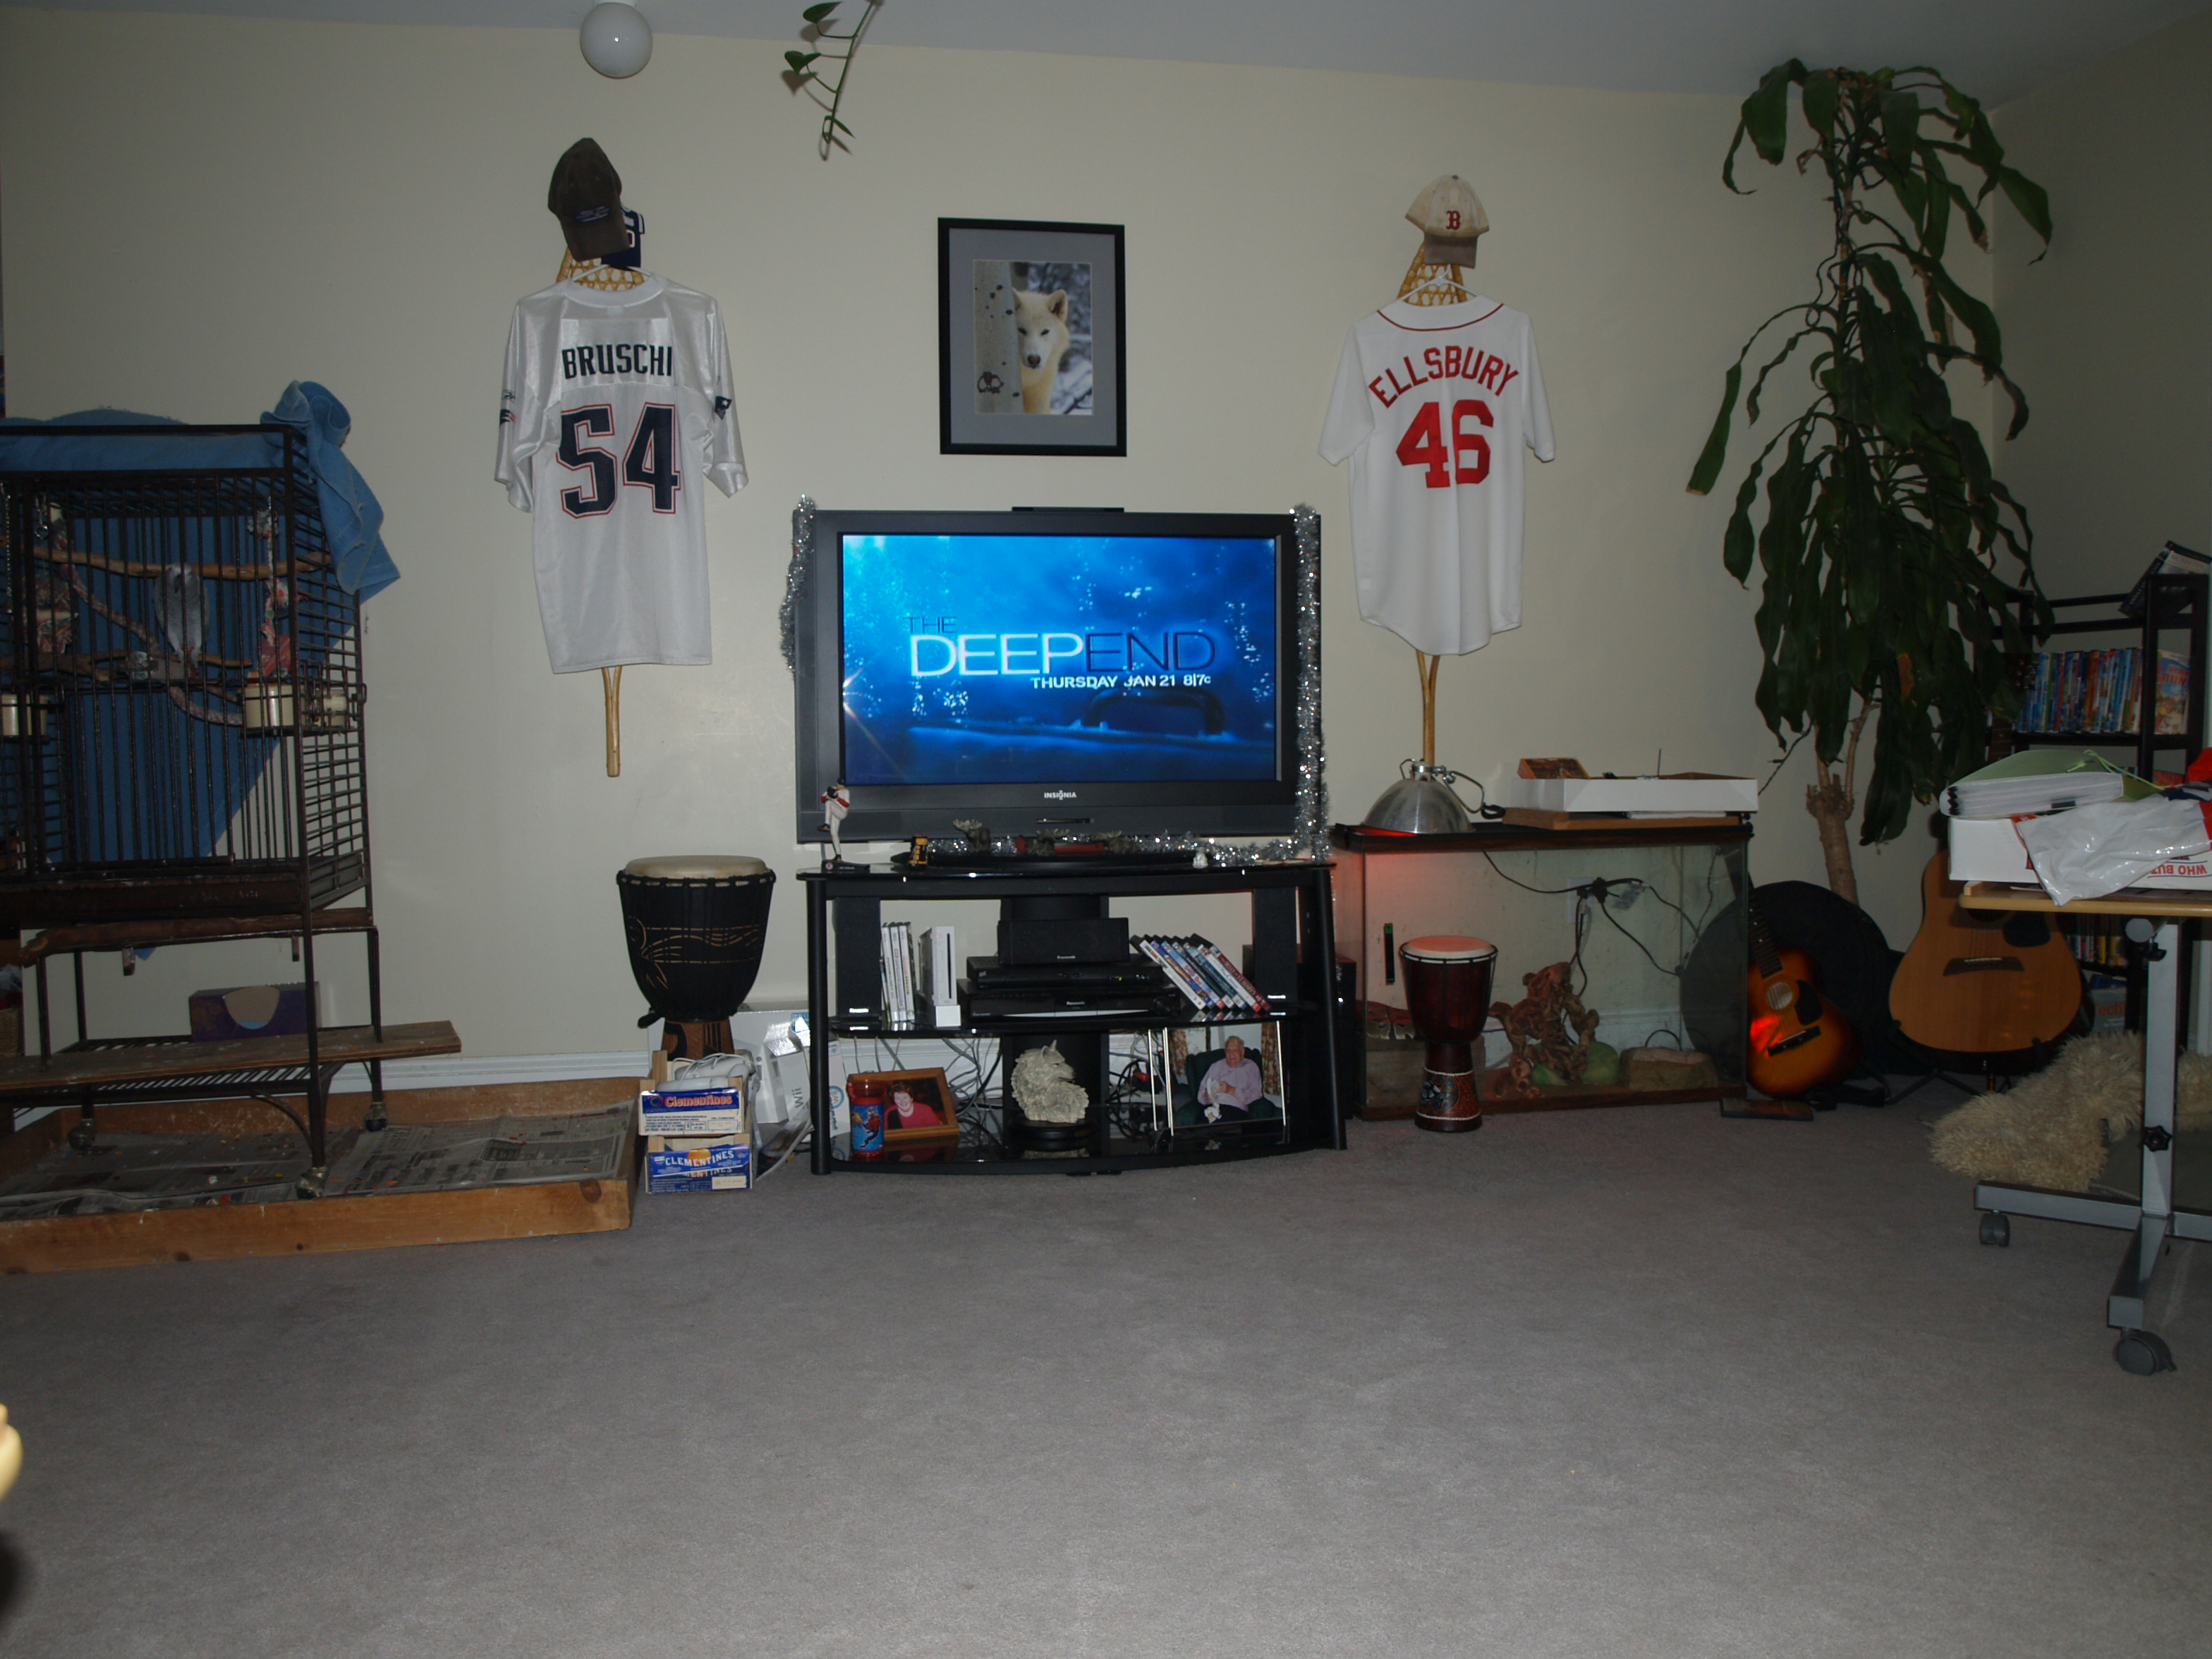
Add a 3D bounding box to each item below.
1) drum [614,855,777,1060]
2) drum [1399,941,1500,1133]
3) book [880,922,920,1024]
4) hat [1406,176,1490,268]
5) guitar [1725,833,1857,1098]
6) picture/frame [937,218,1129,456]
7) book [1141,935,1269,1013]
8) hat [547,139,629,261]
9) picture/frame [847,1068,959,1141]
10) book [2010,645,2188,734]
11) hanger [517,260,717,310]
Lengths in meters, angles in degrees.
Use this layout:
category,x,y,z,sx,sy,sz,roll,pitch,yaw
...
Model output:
category,x,y,z,sx,sy,sz,roll,pitch,yaw
drum,-1.094,0.336,4.906,0.468,0.728,0.500,1,11,0
drum,0.985,0.586,4.888,0.269,0.528,0.210,-1,13,-3
book,-0.567,0.396,4.629,0.105,0.234,0.217,-2,13,-7
hat,1.051,-1.847,5.237,0.203,0.291,0.129,0,-12,-1
guitar,2.010,0.502,4.929,0.327,0.568,0.166,6,14,27
picture/frame,-0.251,-1.493,5.096,0.623,0.772,0.034,-1,4,-9
book,0.264,0.400,4.715,0.183,0.084,0.258,-9,46,-39
hat,-1.498,-1.807,4.870,0.228,0.332,0.167,-5,14,-19
picture/frame,-0.571,0.767,4.683,0.187,0.061,0.173,5,38,-26
book,2.980,-0.411,5.044,0.076,0.231,0.222,-5,16,-28
hanger,-1.400,-1.569,4.897,0.523,0.145,0.124,-3,13,-8
